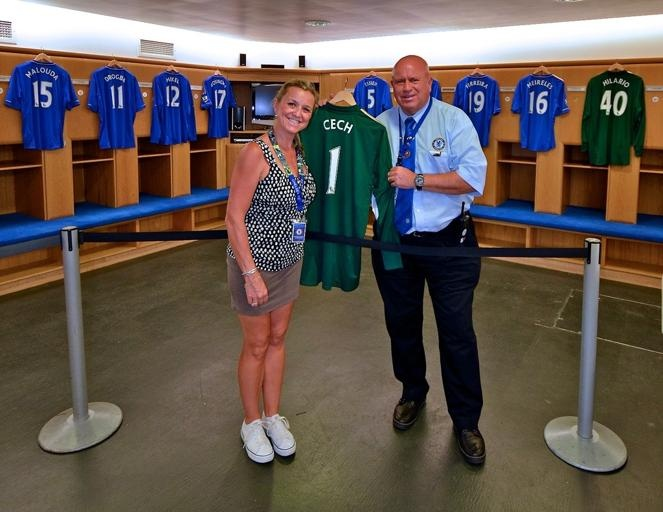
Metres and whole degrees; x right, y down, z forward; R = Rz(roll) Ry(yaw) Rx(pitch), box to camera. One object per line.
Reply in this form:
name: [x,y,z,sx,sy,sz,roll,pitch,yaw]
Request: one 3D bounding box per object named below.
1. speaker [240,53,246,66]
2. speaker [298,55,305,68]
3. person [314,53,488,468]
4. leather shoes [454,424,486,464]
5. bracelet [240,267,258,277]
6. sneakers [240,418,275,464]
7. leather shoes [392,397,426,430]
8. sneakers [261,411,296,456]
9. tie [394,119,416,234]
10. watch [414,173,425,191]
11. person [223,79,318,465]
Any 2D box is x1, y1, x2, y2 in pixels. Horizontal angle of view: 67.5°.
speaker: [-1.489,-3.323,8.366,0.121,0.213,0.286,-4,17,-9]
speaker: [-0.503,-3.366,8.525,0.128,0.220,0.333,-2,17,-3]
person: [0.550,0.016,2.677,0.720,2.082,0.456,7,18,25]
leather shoes: [0.751,1.016,2.699,0.089,0.101,0.250,-2,11,-2]
bracelet: [-0.381,0.076,2.302,0.076,0.044,0.036,1,17,6]
sneakers: [-0.388,0.993,2.629,0.122,0.103,0.252,-7,18,-25]
leather shoes: [0.468,0.940,2.995,0.093,0.107,0.264,7,11,30]
sneakers: [-0.275,0.967,2.716,0.114,0.118,0.288,-10,17,-29]
tie: [0.389,-0.413,2.594,0.101,0.600,0.153,2,16,10]
watch: [0.433,-0.367,2.442,0.049,0.071,0.046,-1,16,2]
person: [-0.267,0.137,2.486,0.472,1.936,0.315,-6,17,-18]
